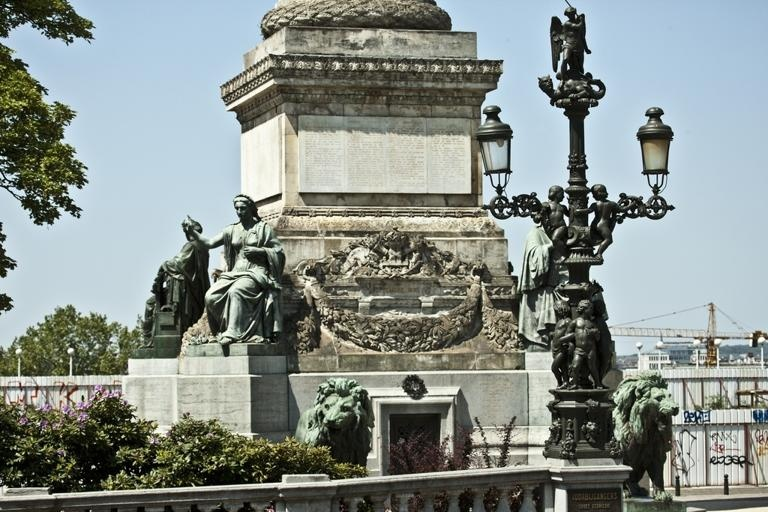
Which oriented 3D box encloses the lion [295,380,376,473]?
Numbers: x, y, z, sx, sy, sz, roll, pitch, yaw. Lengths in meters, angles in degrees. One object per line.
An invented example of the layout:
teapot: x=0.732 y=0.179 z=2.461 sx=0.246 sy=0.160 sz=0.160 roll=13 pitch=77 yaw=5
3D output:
lion: x=-0.992 y=3.904 z=51.106 sx=1.502 sy=1.921 sz=2.029 roll=5 pitch=-15 yaw=-14

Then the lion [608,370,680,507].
lion: x=6.071 y=4.205 z=52.161 sx=1.464 sy=3.211 sz=1.579 roll=0 pitch=1 yaw=-19
